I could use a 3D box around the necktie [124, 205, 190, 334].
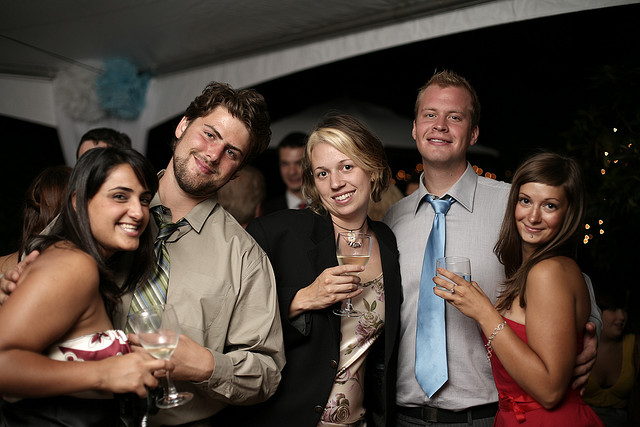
[{"bbox_3d":[-0.916,0.336,2.988,0.225,0.625,0.275,4,6,1],"label":"necktie"}]

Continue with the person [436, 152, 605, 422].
[{"bbox_3d":[1.235,0.429,3.117,0.795,1.579,0.492,2,4,22],"label":"person"}]

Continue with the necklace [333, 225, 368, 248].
[{"bbox_3d":[0.178,0.144,3.226,0.111,0.120,0.031,-4,-10,-12],"label":"necklace"}]

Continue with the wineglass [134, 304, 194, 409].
[{"bbox_3d":[-0.791,0.707,2.671,0.212,0.516,0.202,-10,-6,-33],"label":"wineglass"}]

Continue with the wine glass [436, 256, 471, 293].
[{"bbox_3d":[0.793,0.356,3.150,0.182,0.217,0.198,-1,2,13],"label":"wine glass"}]

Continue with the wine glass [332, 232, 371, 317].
[{"bbox_3d":[0.213,0.370,3.187,0.283,0.514,0.234,-1,4,-20],"label":"wine glass"}]

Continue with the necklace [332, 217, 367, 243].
[{"bbox_3d":[0.174,0.104,3.301,0.151,0.139,0.007,0,4,4],"label":"necklace"}]
